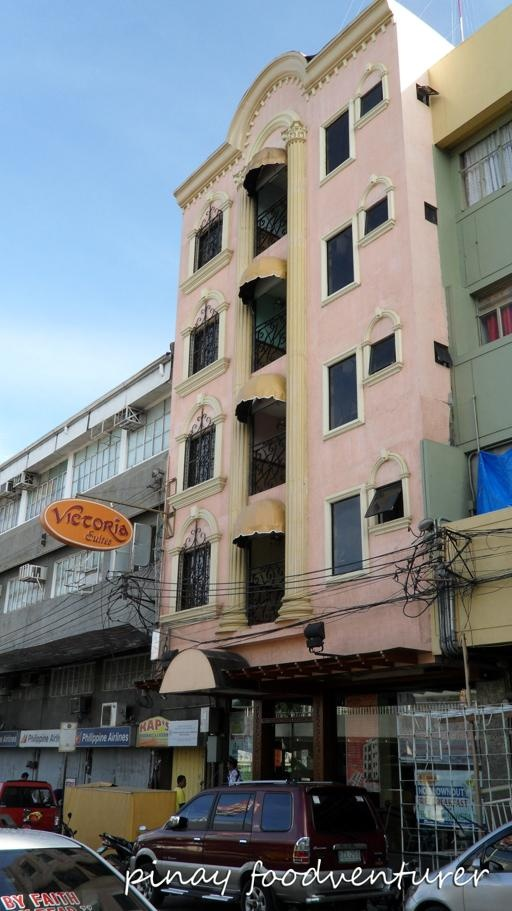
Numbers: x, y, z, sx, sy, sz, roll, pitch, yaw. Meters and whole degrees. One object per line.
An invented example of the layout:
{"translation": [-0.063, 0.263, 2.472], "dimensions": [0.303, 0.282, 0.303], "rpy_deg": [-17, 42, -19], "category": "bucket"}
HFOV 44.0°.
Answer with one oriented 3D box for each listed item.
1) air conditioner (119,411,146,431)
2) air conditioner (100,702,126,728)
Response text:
{"translation": [-4.949, -1.423, 25.137], "dimensions": [0.664, 0.615, 1.171], "rpy_deg": [19, -29, -38], "category": "air conditioner"}
{"translation": [-5.062, 9.131, 22.222], "dimensions": [0.369, 0.815, 1.460], "rpy_deg": [15, -27, -33], "category": "air conditioner"}
